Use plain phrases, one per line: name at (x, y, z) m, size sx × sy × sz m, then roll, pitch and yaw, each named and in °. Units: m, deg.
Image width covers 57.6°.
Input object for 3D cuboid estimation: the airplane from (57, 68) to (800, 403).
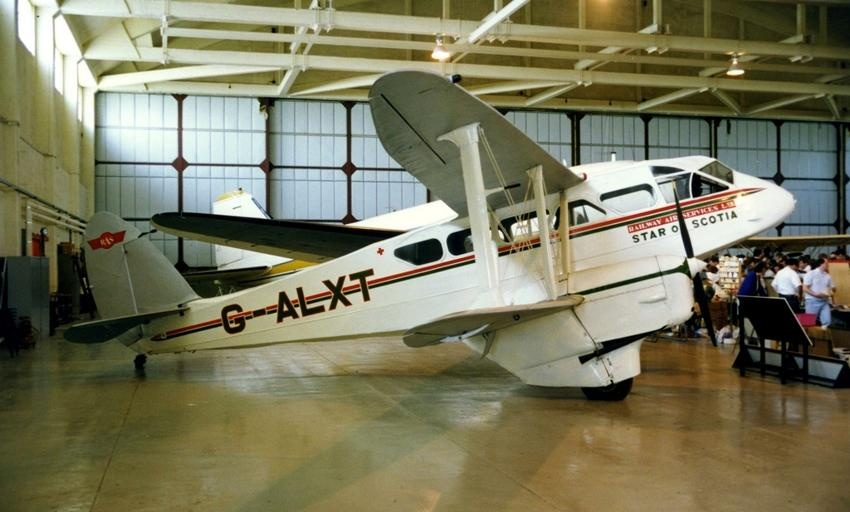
airplane at (0.458, 0.154, 16.919) m, size 9.985 × 3.123 × 10.341 m, roll -7°, pitch 1°, yaw 2°
